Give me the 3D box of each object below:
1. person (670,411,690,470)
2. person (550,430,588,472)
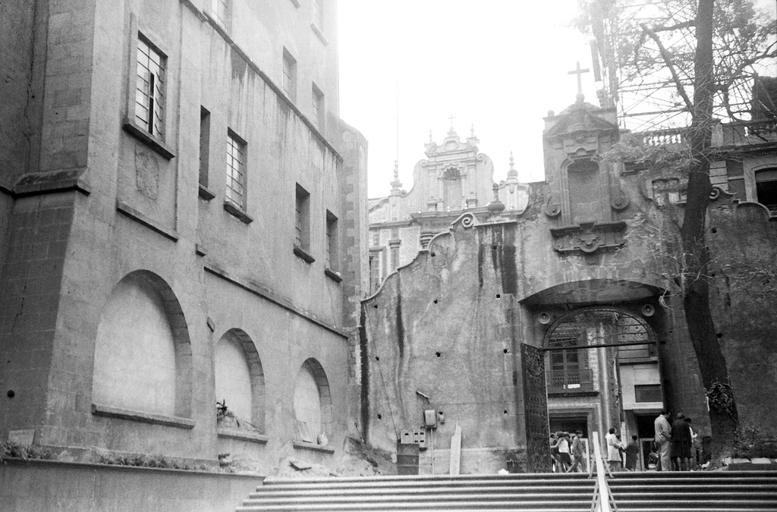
[{"bbox_3d":[8.342,5.238,22.647,0.631,1.599,0.517,-4,-18,1],"label":"person"},{"bbox_3d":[5.884,6.319,25.847,1.044,1.443,2.274,-7,-19,11],"label":"person"}]
